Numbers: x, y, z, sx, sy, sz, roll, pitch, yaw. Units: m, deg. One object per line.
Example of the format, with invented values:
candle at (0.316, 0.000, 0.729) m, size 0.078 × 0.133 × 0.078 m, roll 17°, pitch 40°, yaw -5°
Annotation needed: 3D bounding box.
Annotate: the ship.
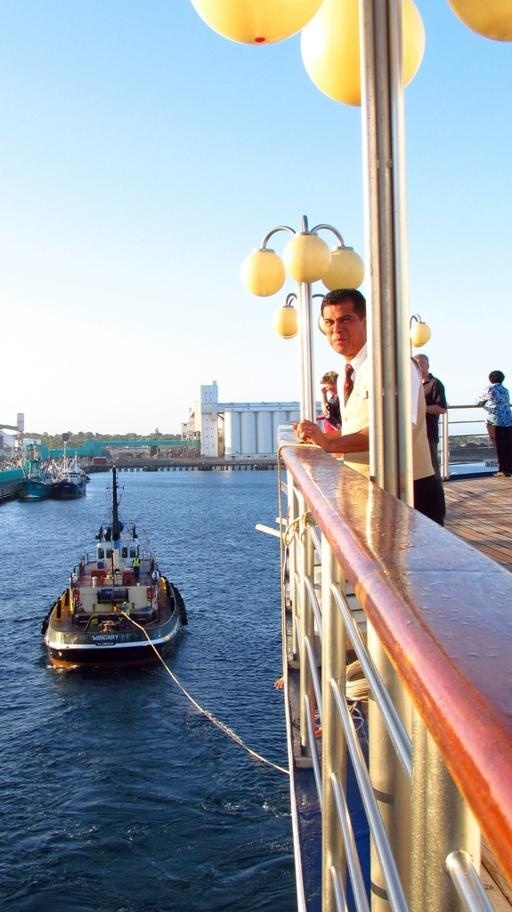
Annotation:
ship at (-4.247, 3.117, 22.026) m, size 3.654 × 5.365 × 4.999 m, roll 0°, pitch 2°, yaw -7°
